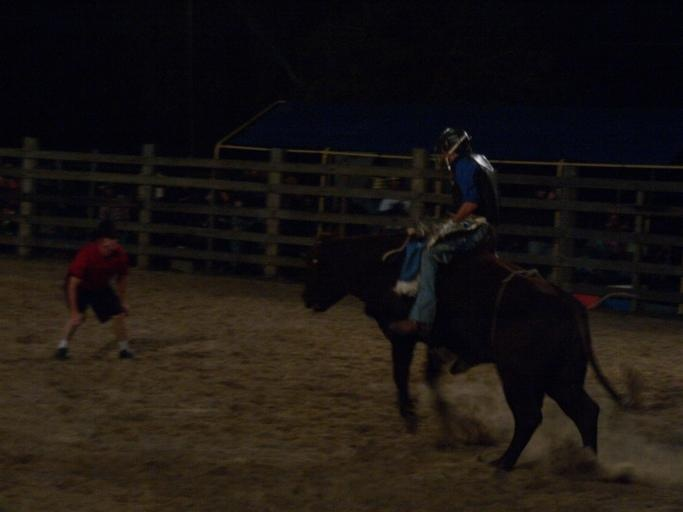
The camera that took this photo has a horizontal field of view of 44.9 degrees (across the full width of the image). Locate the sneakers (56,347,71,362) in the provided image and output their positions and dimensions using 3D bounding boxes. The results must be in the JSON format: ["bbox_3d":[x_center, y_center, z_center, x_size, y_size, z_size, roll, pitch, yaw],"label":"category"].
[{"bbox_3d":[-3.150,1.129,9.404,0.170,0.129,0.150,1,-4,-3],"label":"sneakers"}]

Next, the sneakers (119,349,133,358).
[{"bbox_3d":[-2.473,1.123,9.521,0.150,0.116,0.098,0,9,0],"label":"sneakers"}]

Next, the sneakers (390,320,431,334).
[{"bbox_3d":[0.652,0.678,8.017,0.393,0.130,0.129,4,7,27],"label":"sneakers"}]

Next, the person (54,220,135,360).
[{"bbox_3d":[-2.704,0.380,9.336,0.536,1.562,0.744,6,2,25],"label":"person"}]

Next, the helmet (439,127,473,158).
[{"bbox_3d":[1.162,-1.143,8.269,0.306,0.262,0.296,1,27,-8],"label":"helmet"}]
